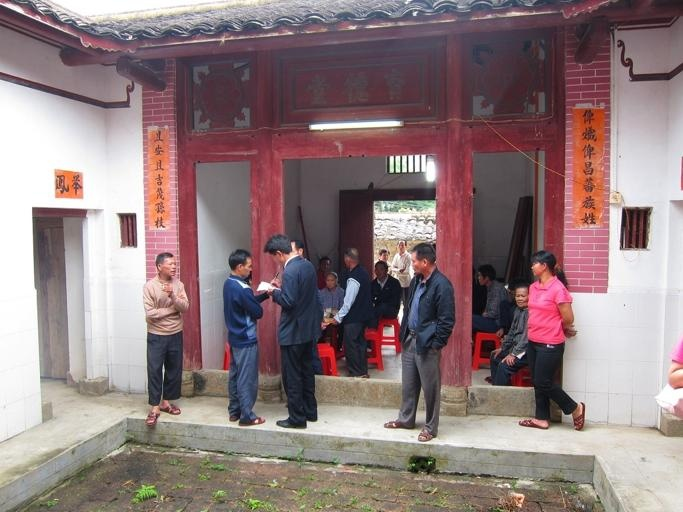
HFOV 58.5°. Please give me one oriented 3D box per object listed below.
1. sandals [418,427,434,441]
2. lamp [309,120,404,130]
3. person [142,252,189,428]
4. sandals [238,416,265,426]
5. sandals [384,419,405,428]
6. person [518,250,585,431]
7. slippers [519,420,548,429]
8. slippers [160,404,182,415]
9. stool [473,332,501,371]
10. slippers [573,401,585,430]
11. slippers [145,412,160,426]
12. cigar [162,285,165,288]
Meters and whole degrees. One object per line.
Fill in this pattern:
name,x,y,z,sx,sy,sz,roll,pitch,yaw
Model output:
sandals,0.868,1.822,6.221,0.179,0.105,0.109,-1,2,5
lamp,0.158,-1.509,7.075,0.707,0.114,0.052,3,-7,10
person,-1.998,0.911,6.870,0.462,1.900,0.316,-2,2,-28
sandals,-0.972,1.780,6.599,0.232,0.076,0.111,-3,4,-16
sandals,0.572,1.778,6.519,0.183,0.077,0.086,5,-1,2
person,2.226,0.891,6.517,0.638,1.891,0.395,0,2,13
slippers,2.045,1.783,6.495,0.253,0.082,0.106,4,-3,15
slippers,-1.936,1.738,6.952,0.203,0.079,0.106,2,3,22
stool,2.019,1.281,8.427,0.474,0.480,0.476,-1,0,-38
slippers,2.515,1.690,6.468,0.085,0.308,0.118,-1,2,-1
slippers,-2.093,1.794,6.675,0.077,0.070,0.187,1,-4,-2
cigar,-1.968,0.335,6.739,0.009,0.037,0.038,13,0,-37
